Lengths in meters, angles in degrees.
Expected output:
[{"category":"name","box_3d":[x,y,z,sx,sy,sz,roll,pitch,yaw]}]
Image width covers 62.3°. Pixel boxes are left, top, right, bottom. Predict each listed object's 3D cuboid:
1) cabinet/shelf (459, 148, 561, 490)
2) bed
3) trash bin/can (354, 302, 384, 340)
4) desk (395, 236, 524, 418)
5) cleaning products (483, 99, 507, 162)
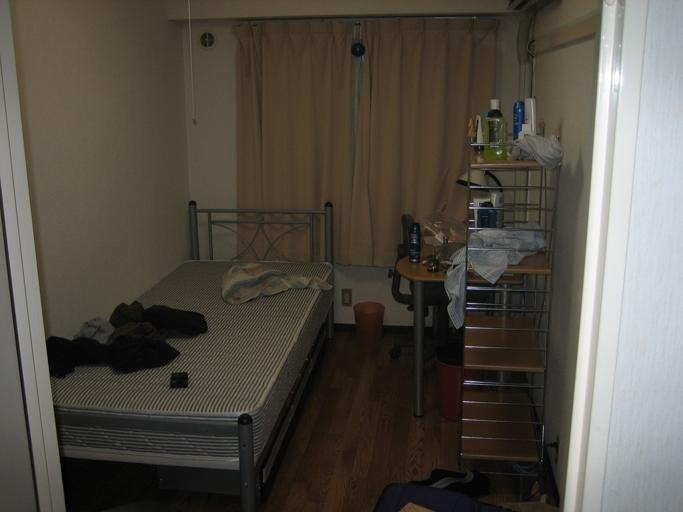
[{"category":"cabinet/shelf","box_3d":[0.865,0.378,2.900,0.412,1.601,1.364,1,16,6]},{"category":"bed","box_3d":[-0.666,0.408,3.219,0.870,0.992,1.830,2,20,9]},{"category":"trash bin/can","box_3d":[0.215,0.531,4.558,0.291,0.262,0.274,1,6,11]},{"category":"desk","box_3d":[0.636,0.439,3.640,0.647,0.976,0.823,0,7,6]},{"category":"cleaning products","box_3d":[0.756,-0.611,2.793,0.119,0.295,0.126,0,10,24]}]
